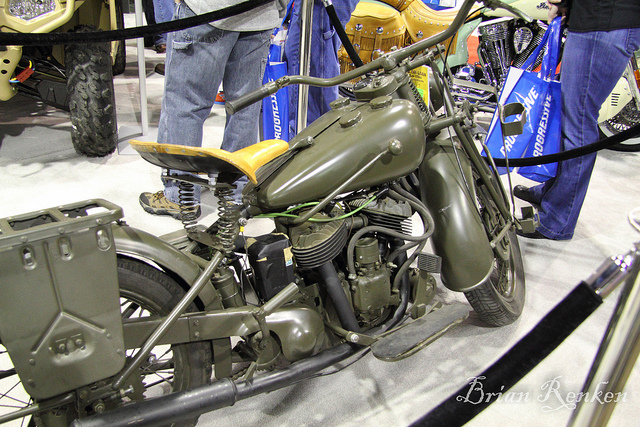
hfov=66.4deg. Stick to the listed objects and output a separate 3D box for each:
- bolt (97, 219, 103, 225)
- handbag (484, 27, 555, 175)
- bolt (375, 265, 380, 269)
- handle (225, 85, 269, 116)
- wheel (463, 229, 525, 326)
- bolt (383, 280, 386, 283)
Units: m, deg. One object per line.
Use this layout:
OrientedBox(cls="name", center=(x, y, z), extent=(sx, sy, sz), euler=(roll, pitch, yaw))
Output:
OrientedBox(cls="bolt", center=(-0.829, 0.029, 1.827), extent=(0.019, 0.019, 0.004), euler=(2, 3, -13))
OrientedBox(cls="handbag", center=(1.709, -0.921, 3.959), extent=(0.428, 1.514, 0.355), euler=(6, -19, 16))
OrientedBox(cls="bolt", center=(0.281, 0.263, 2.418), extent=(0.020, 0.019, 0.005), euler=(-1, -1, -7))
OrientedBox(cls="handle", center=(-0.325, -0.500, 2.202), extent=(0.261, 0.089, 0.084), euler=(-32, 31, -29))
OrientedBox(cls="wheel", center=(0.975, 0.367, 2.750), extent=(0.110, 0.491, 0.509), euler=(-12, -29, 33))
OrientedBox(cls="bolt", center=(0.316, 0.335, 2.415), extent=(0.009, 0.010, 0.009), euler=(24, 14, -4))
